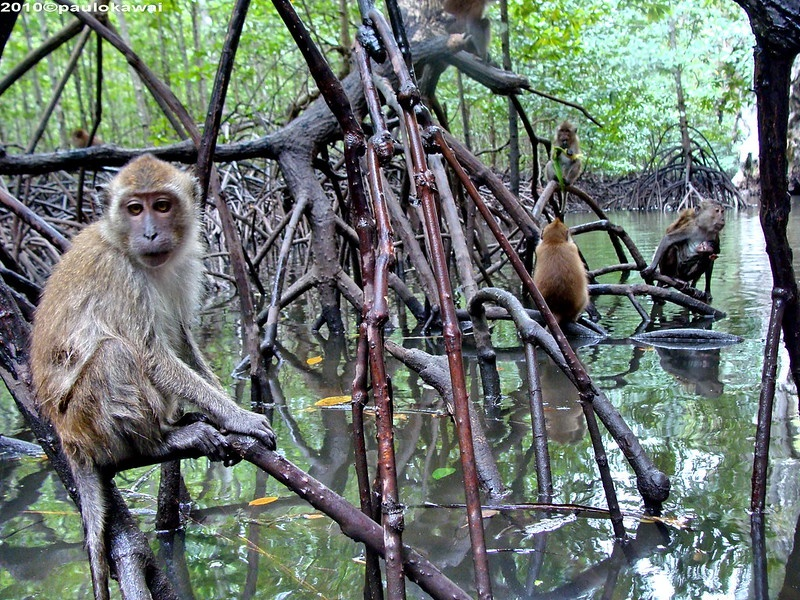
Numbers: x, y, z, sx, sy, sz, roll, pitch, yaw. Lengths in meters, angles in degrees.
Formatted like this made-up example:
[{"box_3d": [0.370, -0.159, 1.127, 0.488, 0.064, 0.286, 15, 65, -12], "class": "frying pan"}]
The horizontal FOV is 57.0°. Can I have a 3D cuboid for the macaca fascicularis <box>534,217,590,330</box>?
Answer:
[{"box_3d": [1.450, -0.252, 6.760, 0.431, 1.419, 0.481, -7, -11, 18], "class": "macaca fascicularis"}]
